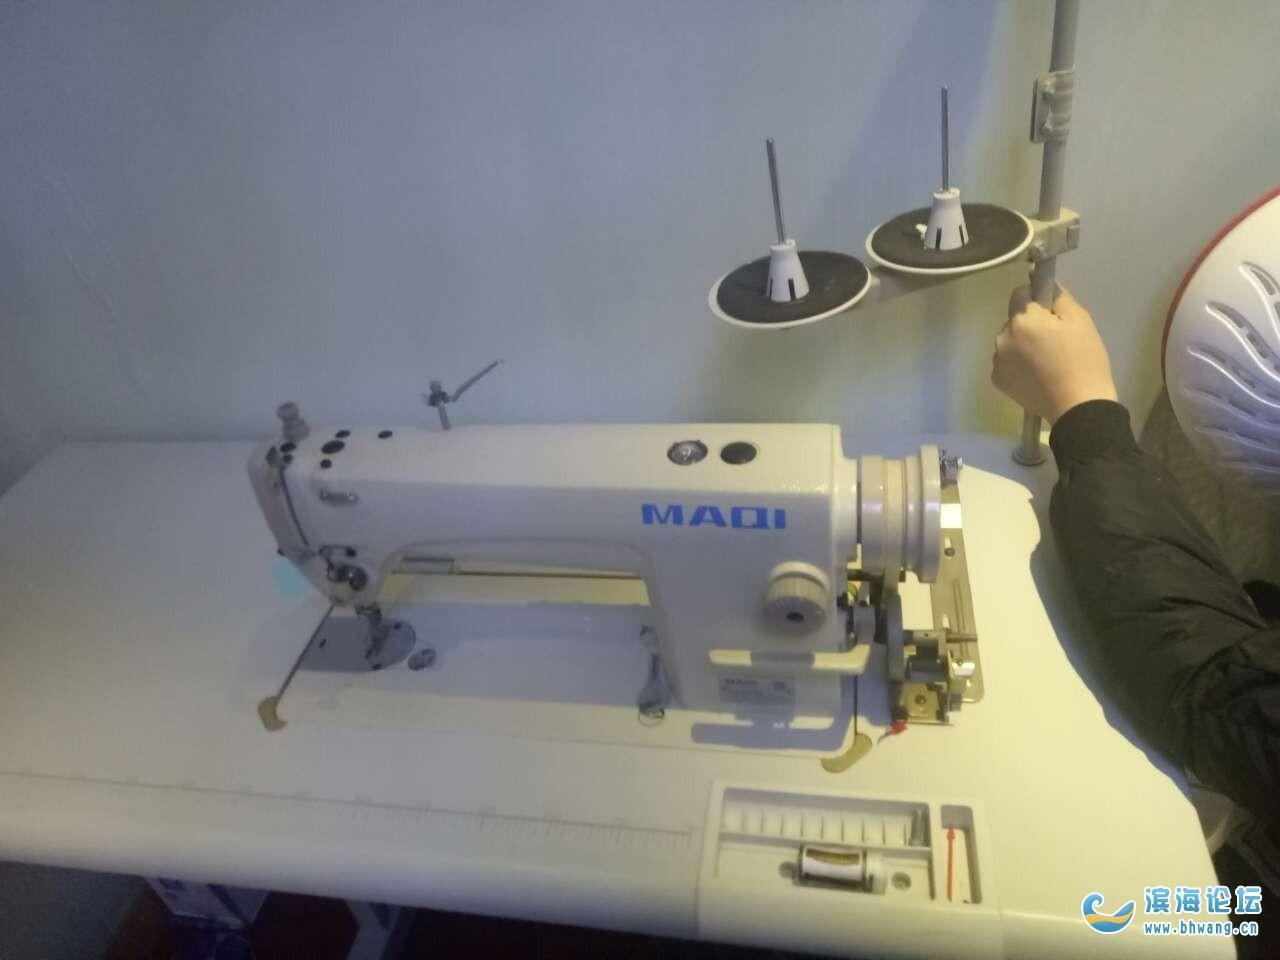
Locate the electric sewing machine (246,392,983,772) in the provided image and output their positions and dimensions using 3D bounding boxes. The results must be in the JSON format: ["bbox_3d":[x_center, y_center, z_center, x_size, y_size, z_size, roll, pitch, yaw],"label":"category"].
[{"bbox_3d":[-0.019,0.119,1.772,1.213,0.519,0.534,-2,52,9],"label":"electric sewing machine"}]
